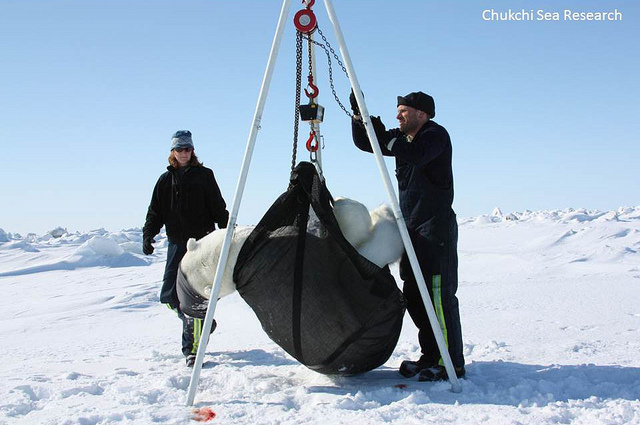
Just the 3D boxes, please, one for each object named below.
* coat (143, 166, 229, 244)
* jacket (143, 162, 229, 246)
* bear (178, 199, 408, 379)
[{"bbox_3d":[-1.848,-0.151,6.807,1.259,1.113,0.595,-4,-1,8],"label":"coat"},{"bbox_3d":[-1.860,-0.160,6.809,1.207,1.119,0.560,-3,-1,7],"label":"jacket"},{"bbox_3d":[-0.212,0.651,5.575,2.313,1.083,1.703,27,-13,-4],"label":"bear"}]
